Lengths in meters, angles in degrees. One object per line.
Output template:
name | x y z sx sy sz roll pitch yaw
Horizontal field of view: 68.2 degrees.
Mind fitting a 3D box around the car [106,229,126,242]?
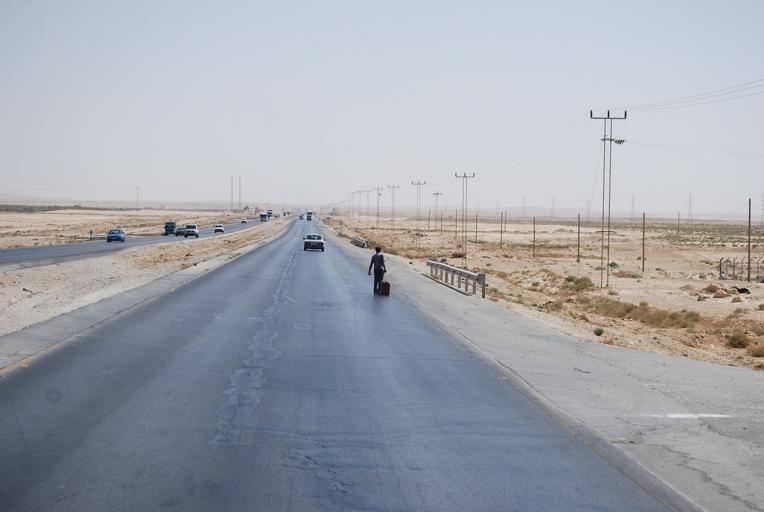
car | -33.896 -2.610 71.917 2.204 1.305 3.447 0 -1 -19

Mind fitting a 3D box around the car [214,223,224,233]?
car | -30.196 -5.047 104.637 1.992 1.300 4.135 -1 1 -13

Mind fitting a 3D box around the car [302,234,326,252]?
car | -7.483 -1.422 61.649 2.854 1.568 5.380 1 8 -5

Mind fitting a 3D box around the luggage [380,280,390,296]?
luggage | 0.058 1.543 26.860 0.497 0.615 0.251 5 9 14

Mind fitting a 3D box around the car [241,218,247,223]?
car | -38.365 -9.648 156.175 1.581 0.911 3.099 1 8 -8
